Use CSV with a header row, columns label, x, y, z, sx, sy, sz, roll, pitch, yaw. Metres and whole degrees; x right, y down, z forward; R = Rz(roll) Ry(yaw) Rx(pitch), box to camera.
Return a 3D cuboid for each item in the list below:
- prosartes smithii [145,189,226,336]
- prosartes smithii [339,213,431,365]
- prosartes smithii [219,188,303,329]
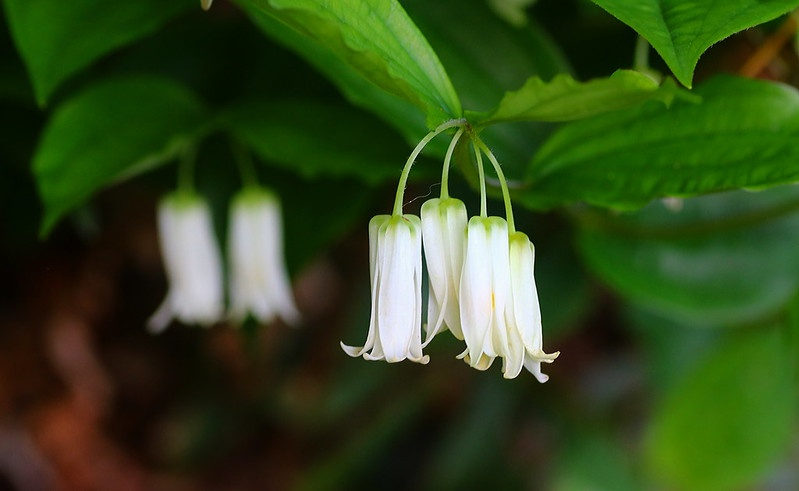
label,x,y,z,sx,sy,sz,roll,pitch,yaw
prosartes smithii,-0.363,0.021,1.325,0.119,0.214,0.076,-8,14,-10
prosartes smithii,-0.005,0.063,1.181,0.129,0.238,0.144,-16,26,-39
prosartes smithii,-0.233,0.019,1.366,0.130,0.239,0.045,0,0,-18
